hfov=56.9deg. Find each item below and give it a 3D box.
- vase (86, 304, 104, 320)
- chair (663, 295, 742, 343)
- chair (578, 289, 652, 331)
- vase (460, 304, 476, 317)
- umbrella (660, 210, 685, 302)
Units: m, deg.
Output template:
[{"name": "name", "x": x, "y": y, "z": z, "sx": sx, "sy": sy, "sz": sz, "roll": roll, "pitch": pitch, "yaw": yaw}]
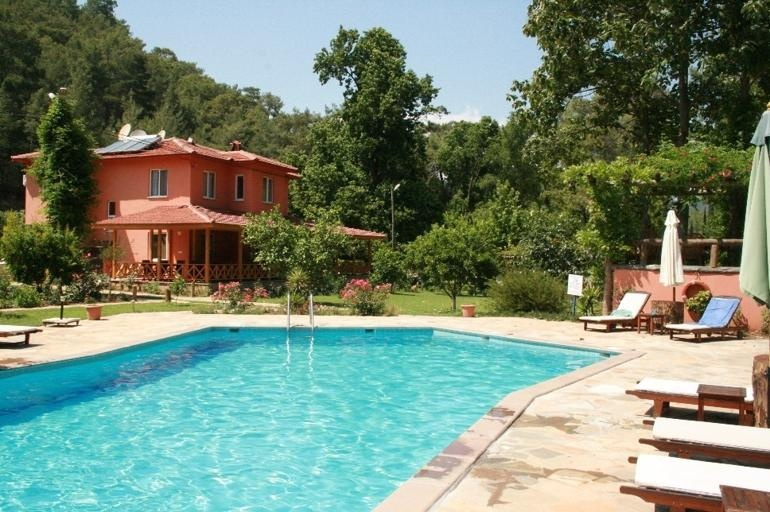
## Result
[{"name": "vase", "x": -11.797, "y": 2.291, "z": 28.824, "sx": 0.688, "sy": 0.523, "sz": 0.583, "roll": -1, "pitch": -6, "yaw": -11}, {"name": "chair", "x": 11.714, "y": 2.288, "z": 26.131, "sx": 2.819, "sy": 1.519, "sz": 1.574, "roll": -1, "pitch": -2, "yaw": -28}, {"name": "chair", "x": 9.030, "y": 2.114, "z": 27.719, "sx": 2.469, "sy": 1.256, "sz": 1.494, "roll": 1, "pitch": -2, "yaw": -28}, {"name": "vase", "x": 3.633, "y": 2.384, "z": 31.093, "sx": 0.530, "sy": 0.376, "sz": 0.537, "roll": -4, "pitch": -5, "yaw": 39}, {"name": "umbrella", "x": 11.087, "y": -0.016, "z": 27.308, "sx": 0.732, "sy": 3.589, "sz": 1.952, "roll": -1, "pitch": -1, "yaw": 23}]
